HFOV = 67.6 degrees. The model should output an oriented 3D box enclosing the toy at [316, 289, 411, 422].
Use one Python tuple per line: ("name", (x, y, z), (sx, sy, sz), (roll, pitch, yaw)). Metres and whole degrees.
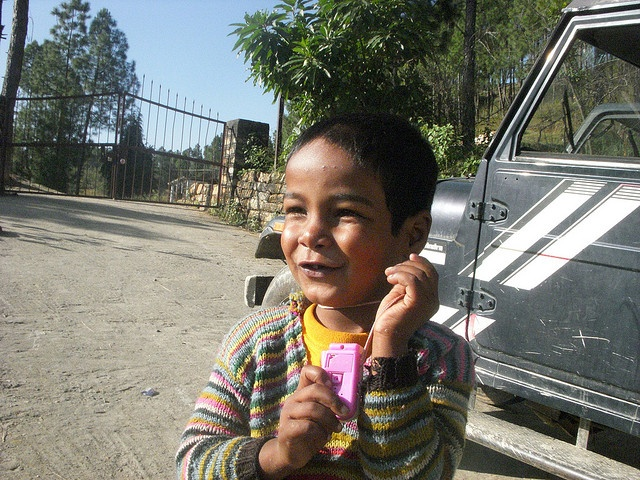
("toy", (0.132, 0.342, 1.489), (0.210, 0.374, 0.104), (6, -23, 38))
